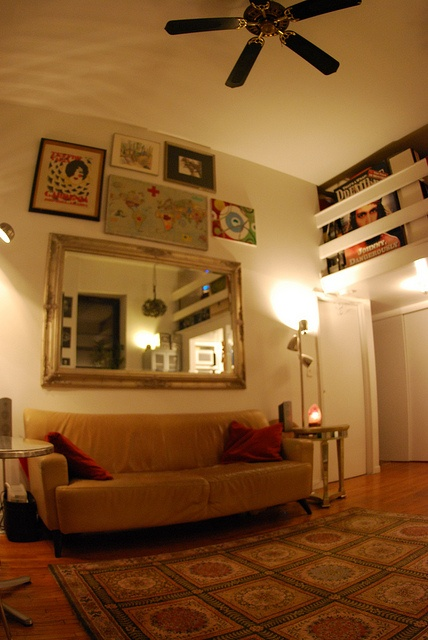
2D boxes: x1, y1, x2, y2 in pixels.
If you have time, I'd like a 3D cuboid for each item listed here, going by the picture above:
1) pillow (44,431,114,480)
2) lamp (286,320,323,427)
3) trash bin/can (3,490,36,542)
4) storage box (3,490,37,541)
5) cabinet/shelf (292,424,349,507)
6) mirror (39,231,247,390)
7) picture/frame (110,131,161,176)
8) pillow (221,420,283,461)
[{"bbox_3d":[-0.780,0.782,2.739,0.375,0.271,0.171,-1,-11,-2],"label":"pillow"},{"bbox_3d":[0.852,0.493,4.502,0.275,0.991,0.678,-4,-12,12],"label":"lamp"},{"bbox_3d":[-1.098,1.114,2.788,0.195,0.249,0.348,2,-6,-34],"label":"trash bin/can"},{"bbox_3d":[-1.100,1.125,2.775,0.196,0.242,0.352,1,-2,-32],"label":"storage box"},{"bbox_3d":[0.788,1.196,3.900,0.560,0.654,0.565,0,-16,1],"label":"cabinet/shelf"},{"bbox_3d":[-0.610,-0.046,3.756,1.341,0.966,0.064,7,-12,-31],"label":"mirror"},{"bbox_3d":[-0.685,-1.398,4.036,0.458,0.324,0.045,6,-9,-31],"label":"picture/frame"},{"bbox_3d":[0.287,0.918,3.532,0.303,0.093,0.317,-6,16,13],"label":"pillow"}]
